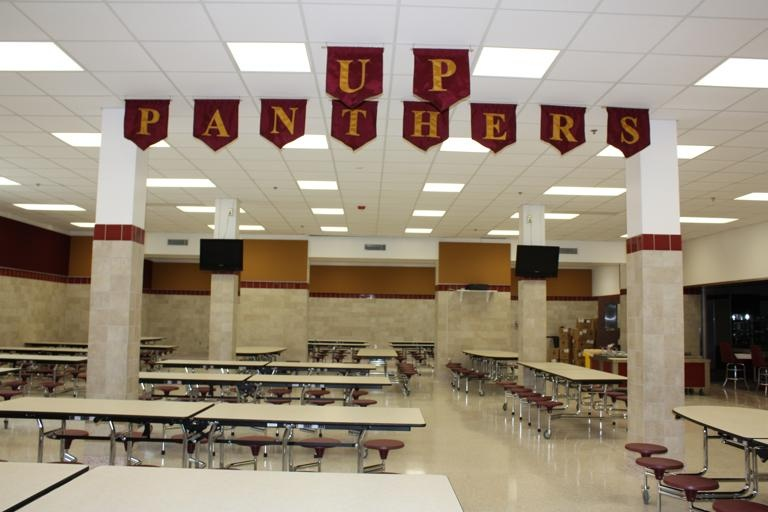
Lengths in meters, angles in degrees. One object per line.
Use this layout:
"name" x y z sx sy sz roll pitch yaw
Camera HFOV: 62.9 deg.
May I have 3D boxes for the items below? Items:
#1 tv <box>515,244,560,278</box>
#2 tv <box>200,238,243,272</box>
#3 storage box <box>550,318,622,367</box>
"tv" 3.902 0.128 15.994 1.059 0.787 0.318 1 -10 6
"tv" -4.023 -0.035 15.502 0.974 0.587 0.122 1 0 2
"storage box" 7.773 3.164 23.201 3.180 1.408 2.747 -1 -4 -5
